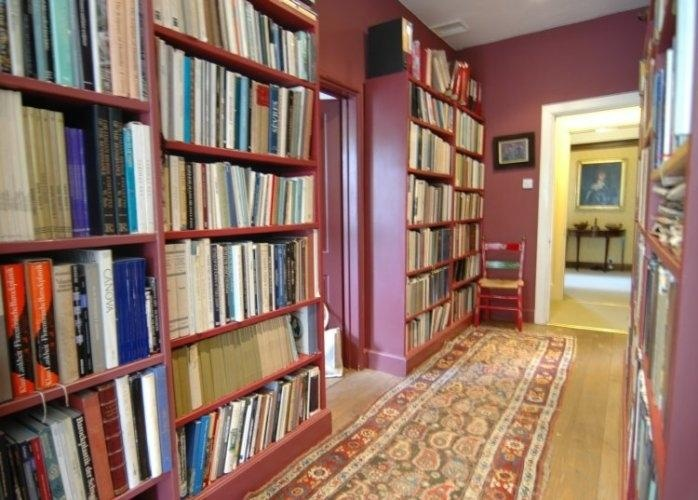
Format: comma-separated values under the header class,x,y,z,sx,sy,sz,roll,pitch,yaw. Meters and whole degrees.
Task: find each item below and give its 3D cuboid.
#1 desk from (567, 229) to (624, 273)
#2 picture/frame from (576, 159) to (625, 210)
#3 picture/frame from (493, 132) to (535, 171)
class,x,y,z,sx,sy,sz,roll,pitch,yaw
desk,4.031,-0.023,8.621,0.847,0.772,0.577,7,16,30
picture/frame,4.079,-1.090,8.474,0.063,0.870,0.722,-19,19,-42
picture/frame,1.595,-0.946,5.026,0.362,0.338,0.032,3,5,40
